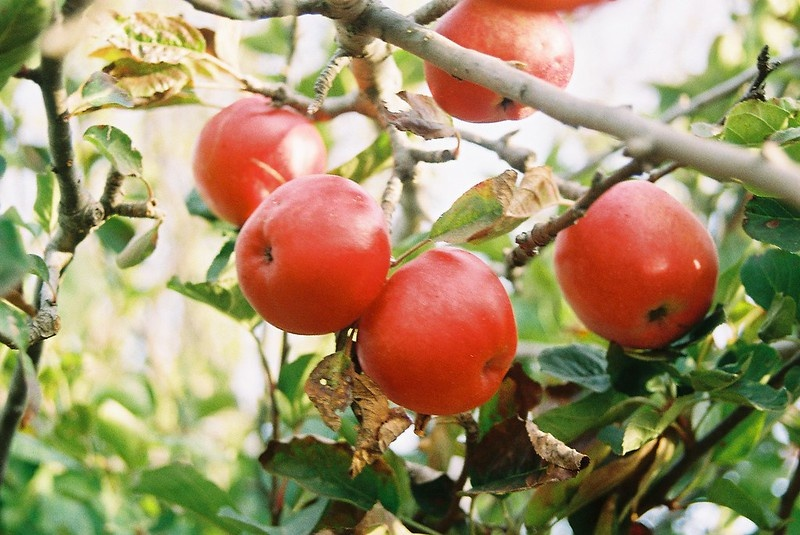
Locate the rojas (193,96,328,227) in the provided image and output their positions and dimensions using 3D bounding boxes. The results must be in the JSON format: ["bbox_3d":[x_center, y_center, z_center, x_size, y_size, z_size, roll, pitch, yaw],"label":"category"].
[{"bbox_3d":[-0.270,-0.229,1.906,0.240,0.266,0.293,0,50,0],"label":"rojas"}]
